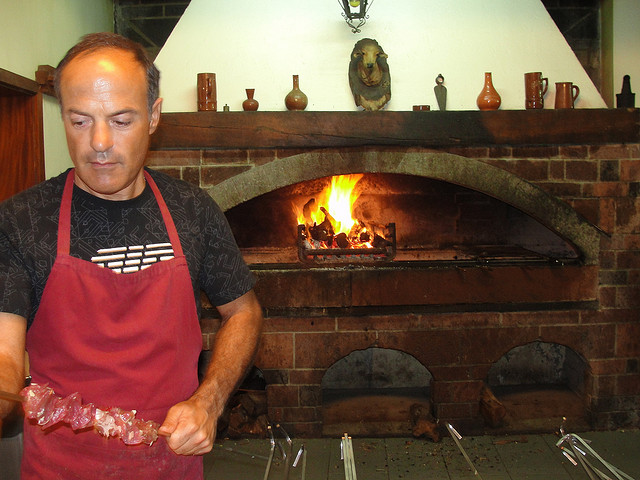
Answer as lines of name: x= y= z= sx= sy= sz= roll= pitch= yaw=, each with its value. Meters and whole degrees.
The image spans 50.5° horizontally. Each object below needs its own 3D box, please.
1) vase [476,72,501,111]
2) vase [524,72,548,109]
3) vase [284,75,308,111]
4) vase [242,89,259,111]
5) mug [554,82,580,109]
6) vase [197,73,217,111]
vase: x=1.246 y=-1.094 z=4.967 sx=0.181 sy=0.296 sz=0.169 roll=-1 pitch=6 yaw=-5
vase: x=1.627 y=-1.107 z=5.011 sx=0.258 sy=0.281 sz=0.147 roll=-5 pitch=8 yaw=-40
vase: x=-0.190 y=-1.075 z=4.932 sx=0.174 sy=0.253 sz=0.172 roll=8 pitch=17 yaw=28
vase: x=-0.524 y=-1.010 z=4.875 sx=0.134 sy=0.188 sz=0.139 roll=5 pitch=9 yaw=23
mug: x=1.835 y=-1.067 z=4.987 sx=0.204 sy=0.192 sz=0.106 roll=-4 pitch=7 yaw=-31
vase: x=-0.850 y=-1.067 z=4.906 sx=0.165 sy=0.267 sz=0.164 roll=-1 pitch=5 yaw=1
